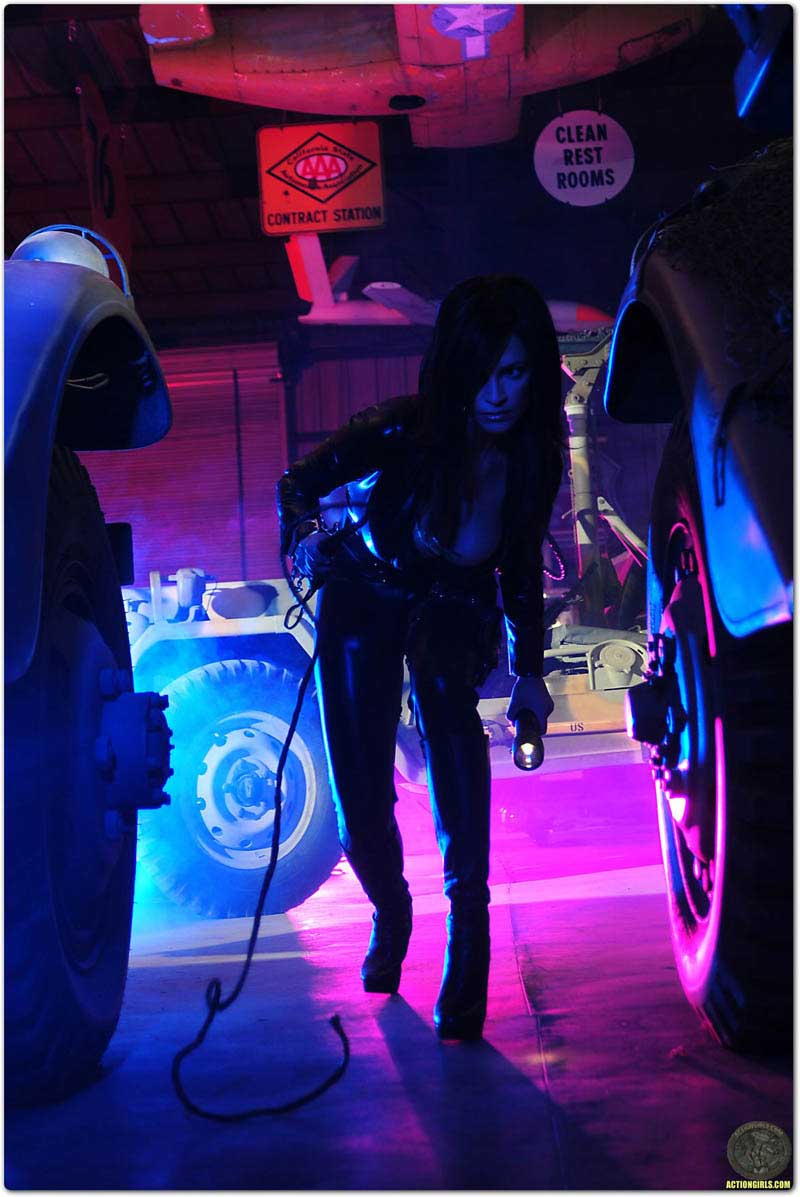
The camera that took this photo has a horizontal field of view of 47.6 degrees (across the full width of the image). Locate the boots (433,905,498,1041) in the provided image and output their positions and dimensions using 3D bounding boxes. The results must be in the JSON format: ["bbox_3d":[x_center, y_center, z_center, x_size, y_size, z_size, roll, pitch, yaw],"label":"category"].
[{"bbox_3d":[0.089,0.520,1.244,0.050,0.076,0.177,1,42,7],"label":"boots"}]

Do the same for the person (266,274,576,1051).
[{"bbox_3d":[0.006,0.030,1.394,0.405,1.065,0.357,3,6,30],"label":"person"}]
